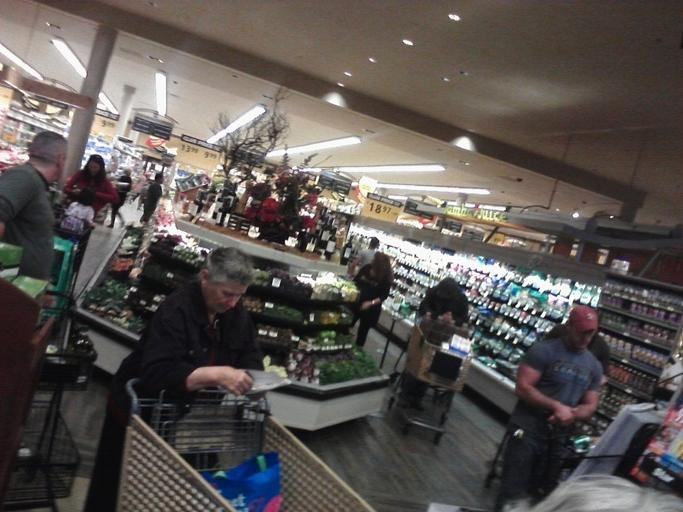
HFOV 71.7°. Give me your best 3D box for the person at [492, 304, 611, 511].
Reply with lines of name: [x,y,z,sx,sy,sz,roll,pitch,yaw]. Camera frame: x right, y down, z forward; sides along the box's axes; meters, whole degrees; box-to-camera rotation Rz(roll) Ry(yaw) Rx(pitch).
person: [1.630,1.166,3.660,0.674,1.655,0.398,14,7,-20]

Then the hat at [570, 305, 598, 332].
hat: [1.818,0.464,3.499,0.166,0.116,0.220,6,1,4]

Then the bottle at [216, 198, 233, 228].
bottle: [-1.347,-0.534,5.599,0.166,0.393,0.105,12,-23,10]
